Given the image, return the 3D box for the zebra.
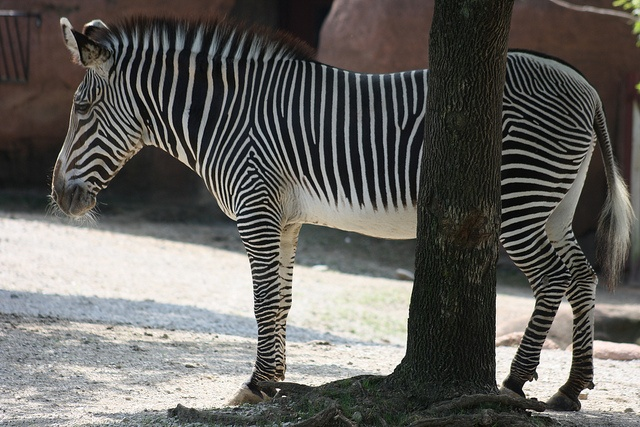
[{"bbox_3d":[0.180,-0.089,12.294,5.895,3.932,1.553,5,10,12],"label":"zebra"}]
